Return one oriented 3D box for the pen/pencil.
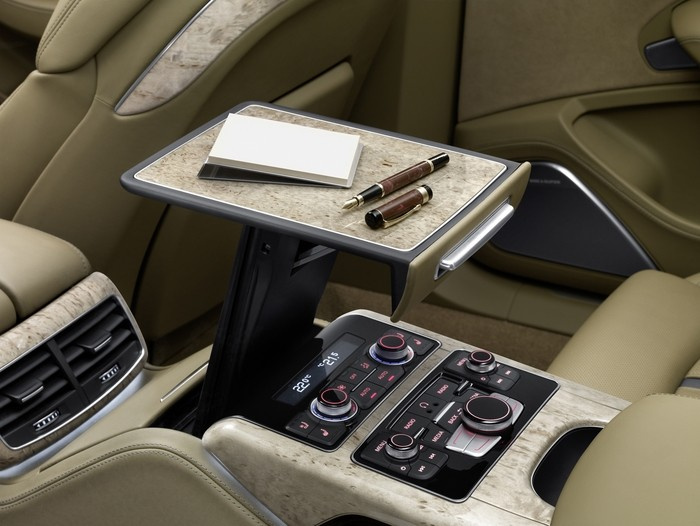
[{"bbox_3d":[0.049,-0.086,0.555,0.020,0.020,0.168,9,28,45],"label":"pen/pencil"}]
